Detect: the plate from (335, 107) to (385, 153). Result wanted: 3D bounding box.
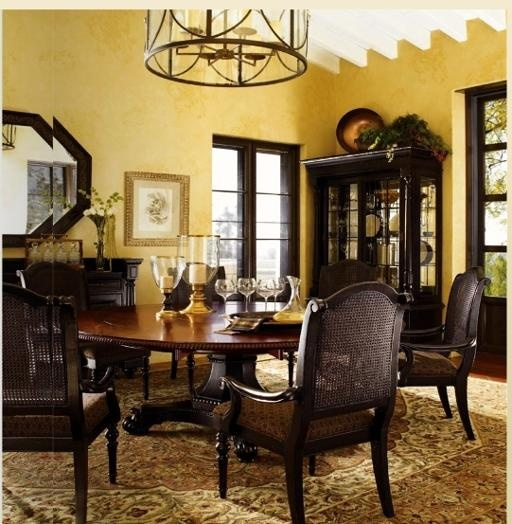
[{"bbox_3d":[1.153,-1.570,5.949,0.609,0.625,0.146,-5,-1,31],"label":"plate"}]

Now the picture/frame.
[{"bbox_3d":[-0.983,-0.522,4.910,0.930,0.971,0.075,-1,2,-38],"label":"picture/frame"}]

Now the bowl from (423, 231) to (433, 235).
[{"bbox_3d":[1.713,-0.278,5.135,0.158,0.057,0.028,-3,5,-44],"label":"bowl"}]

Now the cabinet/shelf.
[{"bbox_3d":[1.229,-0.095,5.641,0.619,2.062,1.580,-4,7,-33],"label":"cabinet/shelf"}]
